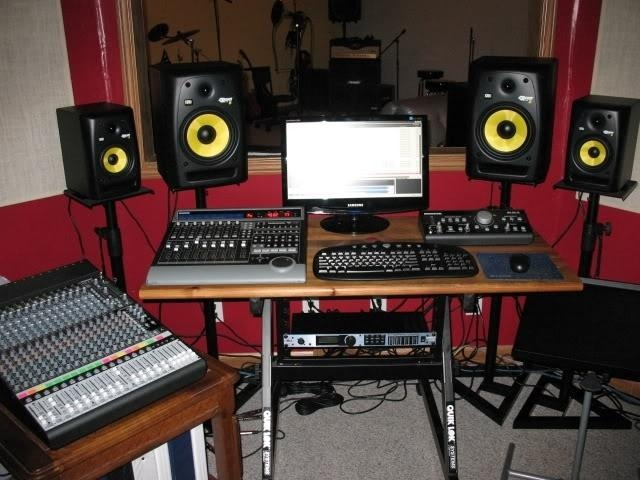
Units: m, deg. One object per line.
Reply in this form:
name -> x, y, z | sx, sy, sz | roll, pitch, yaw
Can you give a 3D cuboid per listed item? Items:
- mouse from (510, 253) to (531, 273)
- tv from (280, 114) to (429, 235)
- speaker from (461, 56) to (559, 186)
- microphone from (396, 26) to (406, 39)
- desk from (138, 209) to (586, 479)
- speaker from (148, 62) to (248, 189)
mouse -> 0.778, 0.092, 2.066 | 0.074, 0.058, 0.068 | 7, 19, 21
tv -> 0.153, -0.307, 2.423 | 0.696, 0.512, 0.252 | -3, 14, -13
speaker -> 0.861, -0.532, 2.363 | 0.377, 0.538, 0.313 | 12, 30, 34
microphone -> 1.220, -3.046, 7.783 | 0.113, 0.148, 0.262 | 2, 18, 7
desk -> 0.224, 0.765, 2.499 | 1.692, 0.811, 1.143 | -2, 26, -1
speaker -> -0.539, -0.502, 2.335 | 0.380, 0.475, 0.402 | -6, 23, -16
